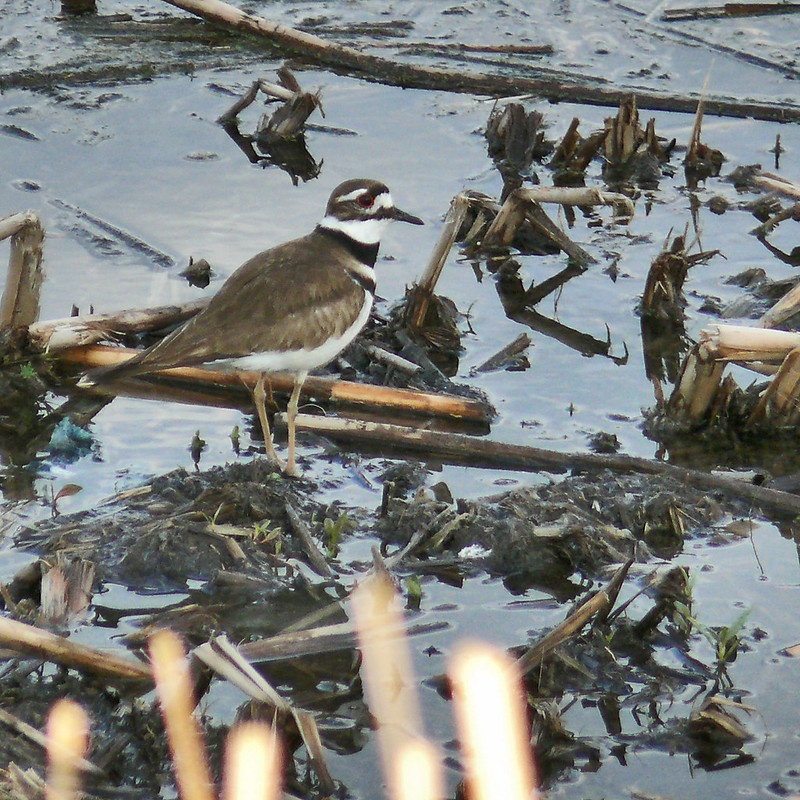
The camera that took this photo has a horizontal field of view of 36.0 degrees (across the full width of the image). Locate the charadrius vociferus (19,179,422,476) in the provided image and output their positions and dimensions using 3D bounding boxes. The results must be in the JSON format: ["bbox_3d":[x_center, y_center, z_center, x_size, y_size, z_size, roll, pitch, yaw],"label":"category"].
[{"bbox_3d":[-0.656,-0.558,6.994,0.834,1.286,1.580,12,20,27],"label":"charadrius vociferus"}]
